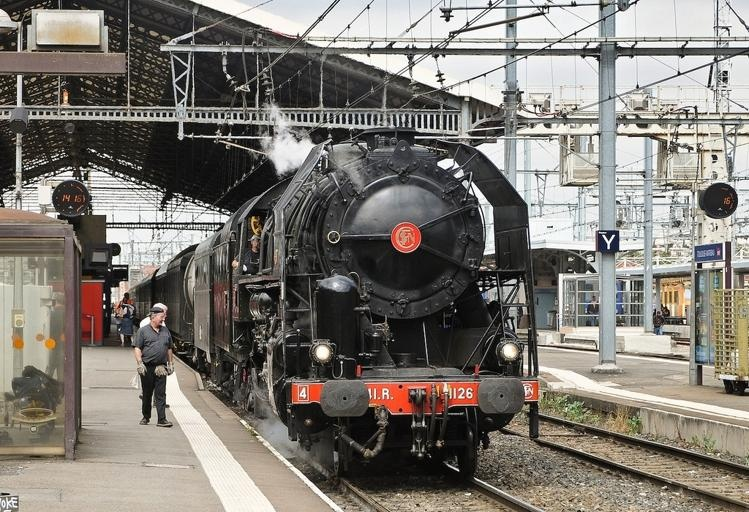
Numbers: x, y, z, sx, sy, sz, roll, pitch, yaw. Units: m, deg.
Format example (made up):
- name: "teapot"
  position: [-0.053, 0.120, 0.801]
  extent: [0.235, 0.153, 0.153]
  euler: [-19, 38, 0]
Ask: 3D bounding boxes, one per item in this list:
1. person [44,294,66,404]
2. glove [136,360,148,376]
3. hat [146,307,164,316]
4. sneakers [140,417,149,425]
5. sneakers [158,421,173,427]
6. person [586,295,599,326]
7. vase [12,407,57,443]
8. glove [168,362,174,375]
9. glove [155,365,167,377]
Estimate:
- name: "person"
  position: [-5.445, 1.543, 16.456]
  extent: [0.277, 1.839, 0.108]
  euler: [0, 0, -16]
- name: "glove"
  position: [-4.658, 2.177, 19.318]
  extent: [0.222, 0.260, 0.074]
  euler: [13, 28, 36]
- name: "hat"
  position: [-4.370, 1.091, 19.403]
  extent: [0.224, 0.213, 0.271]
  euler: [-2, 14, -14]
- name: "sneakers"
  position: [-4.683, 3.270, 19.781]
  extent: [0.090, 0.100, 0.266]
  euler: [-4, -15, 21]
- name: "sneakers"
  position: [-4.248, 3.301, 19.648]
  extent: [0.321, 0.123, 0.109]
  euler: [-12, -14, 41]
- name: "person"
  position: [10.313, 2.549, 45.825]
  extent: [0.507, 1.406, 1.794]
  euler: [0, 0, 9]
- name: "vase"
  position: [-5.874, 2.725, 16.705]
  extent: [0.757, 0.299, 0.855]
  euler: [4, 10, -16]
- name: "glove"
  position: [-4.156, 2.206, 19.562]
  extent: [0.066, 0.212, 0.163]
  euler: [-2, -3, 41]
- name: "glove"
  position: [-4.279, 2.225, 19.391]
  extent: [0.233, 0.206, 0.075]
  euler: [9, -4, -21]
